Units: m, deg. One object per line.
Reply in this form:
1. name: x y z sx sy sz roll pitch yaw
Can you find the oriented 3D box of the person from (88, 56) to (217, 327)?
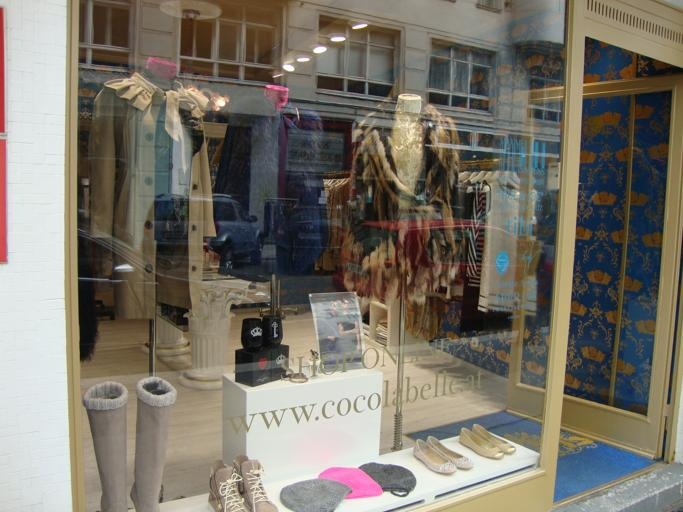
1. person: -0.642 -0.206 1.988 0.387 0.946 0.204 0 -22 -18
